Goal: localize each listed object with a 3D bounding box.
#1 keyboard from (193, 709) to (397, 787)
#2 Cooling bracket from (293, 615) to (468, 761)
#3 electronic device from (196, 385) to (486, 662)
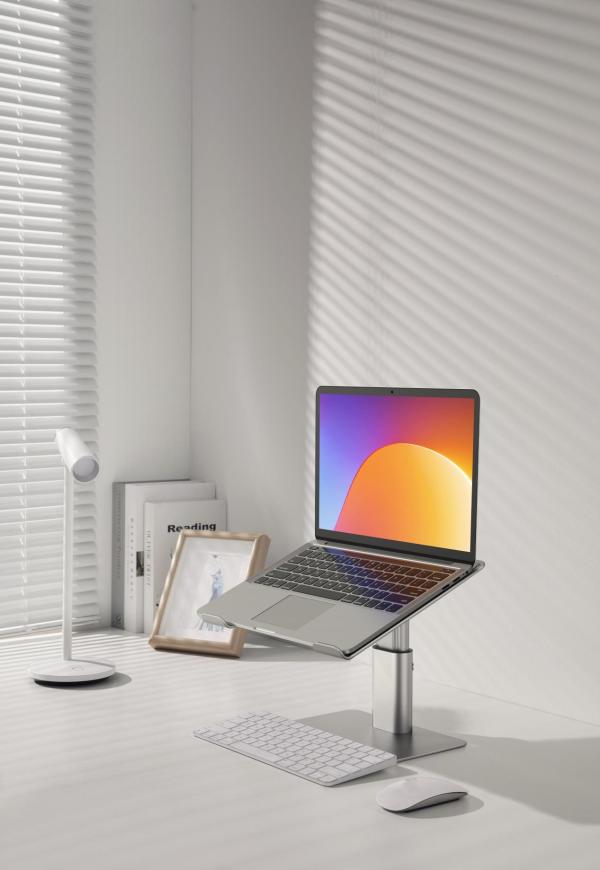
[{"bbox_3d":[-0.009,0.366,0.898,0.117,0.019,0.231,4,-6,-44],"label":"keyboard"},{"bbox_3d":[0.106,0.253,1.031,0.142,0.240,0.257,-2,3,-36],"label":"Cooling bracket"},{"bbox_3d":[0.048,0.089,1.003,0.199,0.340,0.347,3,-5,-39],"label":"electronic device"}]
